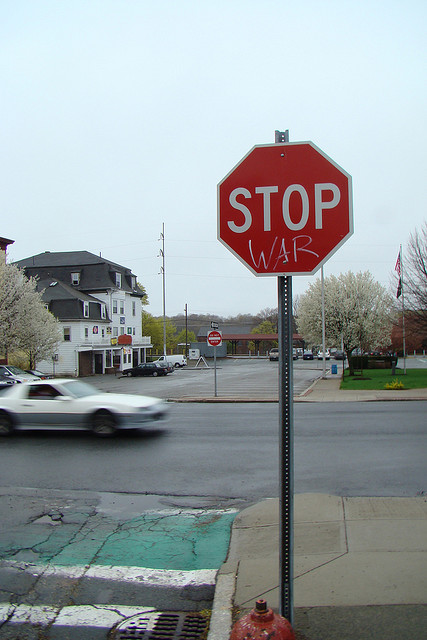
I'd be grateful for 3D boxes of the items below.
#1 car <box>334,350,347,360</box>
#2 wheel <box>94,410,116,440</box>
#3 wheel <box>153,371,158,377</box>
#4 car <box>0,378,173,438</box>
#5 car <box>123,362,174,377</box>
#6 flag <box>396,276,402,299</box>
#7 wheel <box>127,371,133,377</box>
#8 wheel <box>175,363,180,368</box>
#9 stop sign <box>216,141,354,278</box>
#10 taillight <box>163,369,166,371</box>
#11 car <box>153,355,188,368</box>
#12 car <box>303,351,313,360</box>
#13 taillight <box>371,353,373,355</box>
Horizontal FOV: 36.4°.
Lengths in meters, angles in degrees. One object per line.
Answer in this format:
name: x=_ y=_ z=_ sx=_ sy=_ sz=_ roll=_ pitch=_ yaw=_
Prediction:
car: x=14.466 y=4.092 z=74.616 sx=1.224 sy=1.075 sz=2.212 roll=1 pitch=5 yaw=14
wheel: x=-2.022 y=1.992 z=12.187 sx=0.494 sy=0.745 sz=0.213 roll=0 pitch=0 yaw=7
wheel: x=-4.387 y=4.065 z=49.367 sx=0.376 sy=0.400 sz=0.128 roll=1 pitch=6 yaw=6
car: x=-2.552 y=1.732 z=12.634 sx=2.569 sy=0.704 sz=1.355 roll=-2 pitch=-2 yaw=10
car: x=-5.070 y=3.832 z=49.782 sx=3.026 sy=0.877 sz=1.251 roll=-3 pitch=-1 yaw=30
flag: x=8.732 y=-1.504 z=30.568 sx=0.153 sy=0.942 sz=0.817 roll=-3 pitch=-1 yaw=10
wheel: x=-6.410 y=4.158 z=49.831 sx=0.355 sy=0.376 sz=0.118 roll=2 pitch=1 yaw=-4
wheel: x=-3.610 y=4.565 z=65.038 sx=0.401 sy=0.425 sz=0.145 roll=0 pitch=8 yaw=0
stop sign: x=0.359 y=-0.512 z=3.056 sx=0.819 sy=0.834 sz=0.067 roll=1 pitch=-1 yaw=5
taillight: x=-3.724 y=3.775 z=49.159 sx=0.185 sy=0.185 sz=0.065 roll=4 pitch=4 yaw=18
car: x=-3.463 y=4.302 z=64.928 sx=2.768 sy=1.046 sz=1.375 roll=2 pitch=0 yaw=12
car: x=10.773 y=4.061 z=74.234 sx=0.953 sy=0.821 sz=2.178 roll=0 pitch=4 yaw=10
taillight: x=16.680 y=3.596 z=68.619 sx=0.373 sy=0.279 sz=0.343 roll=1 pitch=-1 yaw=7
